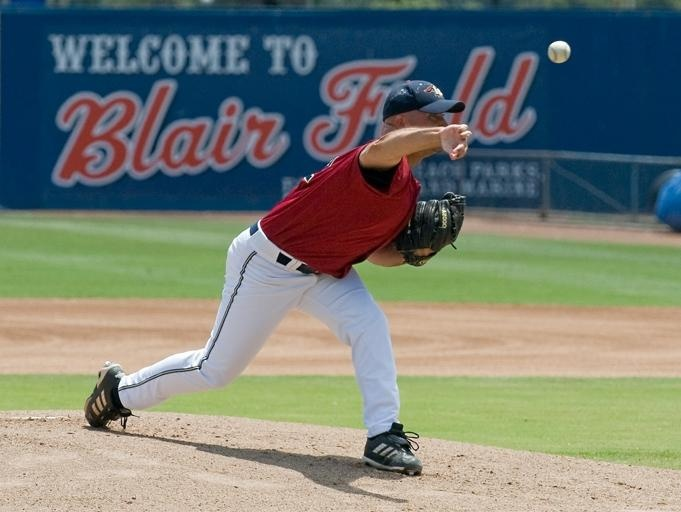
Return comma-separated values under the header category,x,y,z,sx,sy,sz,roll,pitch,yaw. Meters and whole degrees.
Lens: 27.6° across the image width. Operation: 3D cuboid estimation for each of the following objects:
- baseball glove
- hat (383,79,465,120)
category,x,y,z,sx,sy,sz,roll,pitch,yaw
baseball glove,0.753,-0.245,11.281,0.323,0.587,0.466,34,-8,18
hat,0.672,-1.262,11.117,0.558,0.259,0.324,0,11,17
